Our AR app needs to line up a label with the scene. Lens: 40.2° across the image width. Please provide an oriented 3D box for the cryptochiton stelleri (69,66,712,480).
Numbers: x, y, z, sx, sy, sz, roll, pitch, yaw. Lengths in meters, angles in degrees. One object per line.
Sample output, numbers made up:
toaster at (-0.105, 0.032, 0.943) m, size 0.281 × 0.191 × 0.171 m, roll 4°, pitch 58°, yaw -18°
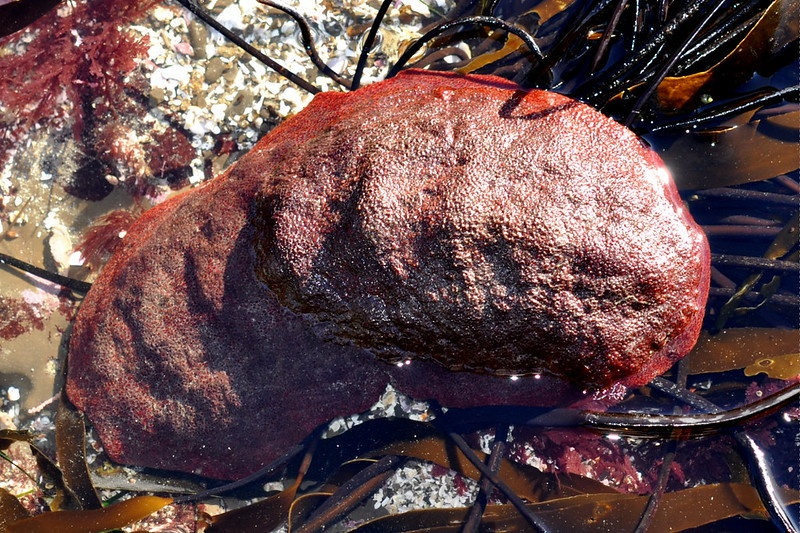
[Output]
cryptochiton stelleri at (-0.131, -0.112, 7.750) m, size 5.002 × 2.452 × 0.587 m, roll -10°, pitch -11°, yaw 27°
